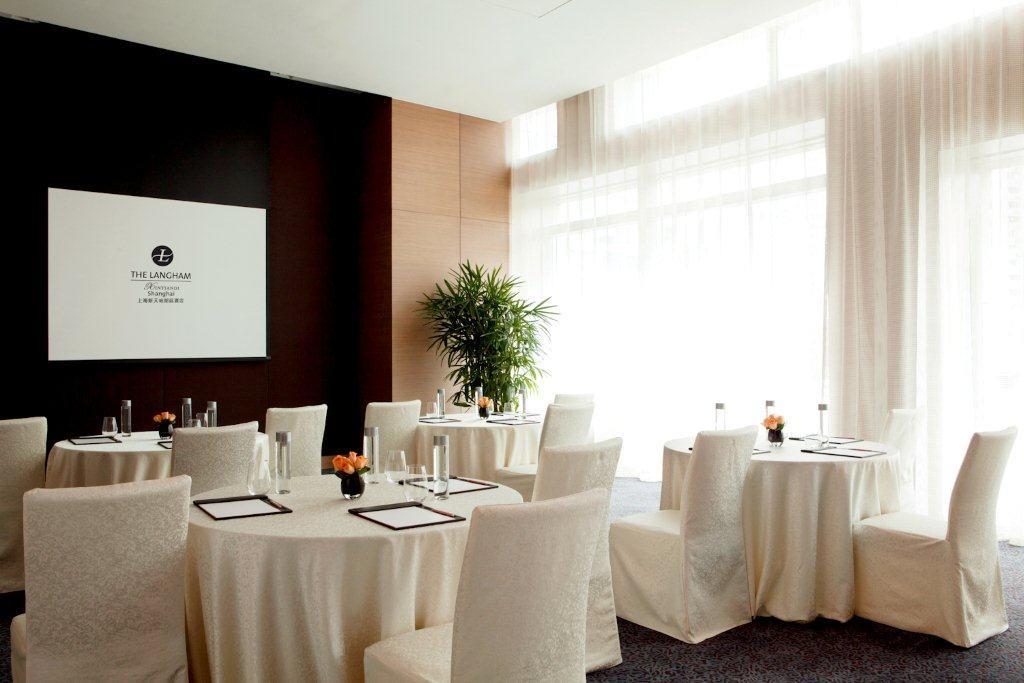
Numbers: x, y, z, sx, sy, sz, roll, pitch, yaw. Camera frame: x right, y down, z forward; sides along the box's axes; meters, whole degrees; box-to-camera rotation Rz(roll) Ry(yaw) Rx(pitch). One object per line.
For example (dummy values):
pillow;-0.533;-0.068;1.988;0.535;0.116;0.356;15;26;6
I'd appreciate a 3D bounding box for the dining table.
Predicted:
dining table;1.874;1.128;5.062;1.205;0.985;1.245;-1;-1;30

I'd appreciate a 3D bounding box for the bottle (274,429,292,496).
bottle;-1.272;0.671;3.947;0.087;0.267;0.284;0;-1;-18

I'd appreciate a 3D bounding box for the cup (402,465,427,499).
cup;-0.525;0.788;3.974;0.161;0.223;0.163;-1;3;0

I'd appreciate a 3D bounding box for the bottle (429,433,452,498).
bottle;-0.386;0.674;3.904;0.097;0.287;0.385;0;-1;-6

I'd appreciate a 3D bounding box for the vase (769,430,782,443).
vase;1.908;0.683;5.126;0.083;0.106;0.088;0;-2;-3

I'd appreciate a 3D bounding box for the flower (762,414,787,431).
flower;1.920;0.578;5.180;0.160;0.111;0.139;0;-1;18

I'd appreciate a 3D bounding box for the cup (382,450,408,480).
cup;-0.642;0.681;3.947;0.136;0.198;0.139;-2;2;0

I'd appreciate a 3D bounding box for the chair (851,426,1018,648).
chair;2.729;1.212;4.592;0.922;1.532;0.461;0;0;28

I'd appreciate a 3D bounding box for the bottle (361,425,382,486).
bottle;-0.797;0.659;4.068;0.072;0.267;0.299;0;-1;-8
